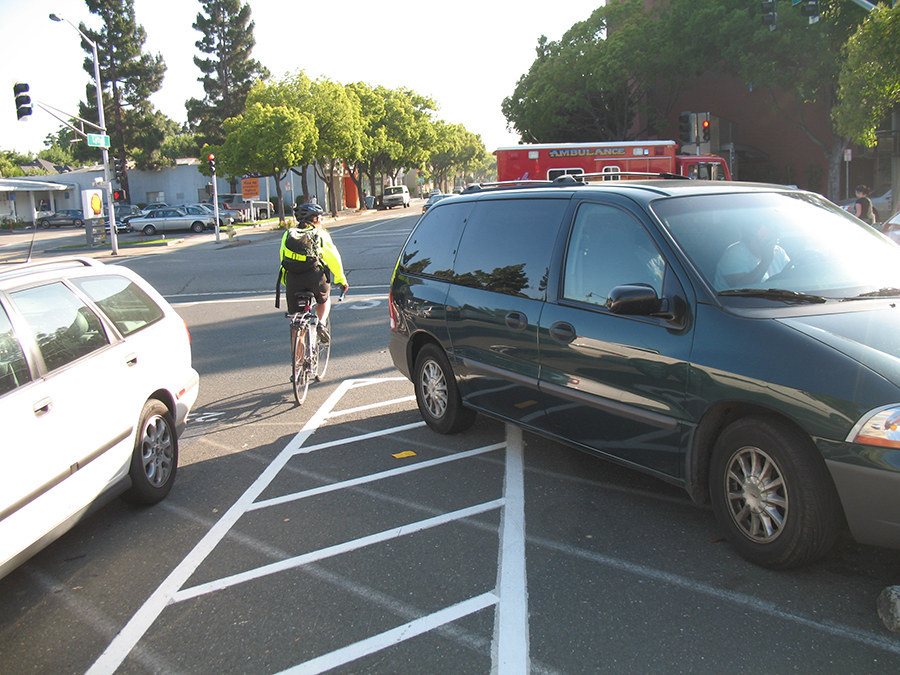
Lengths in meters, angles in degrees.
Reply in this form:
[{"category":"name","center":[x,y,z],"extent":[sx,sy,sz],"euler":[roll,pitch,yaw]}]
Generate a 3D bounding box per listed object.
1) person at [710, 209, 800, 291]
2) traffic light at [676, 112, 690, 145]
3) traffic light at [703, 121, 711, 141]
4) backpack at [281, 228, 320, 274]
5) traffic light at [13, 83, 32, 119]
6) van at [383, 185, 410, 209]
[{"category":"person","center":[2.029,-0.564,4.425],"extent":[0.420,0.421,0.868],"euler":[5,14,33]},{"category":"traffic light","center":[7.710,-6.720,21.592],"extent":[0.472,0.950,0.895],"euler":[3,12,26]},{"category":"traffic light","center":[8.499,-6.762,22.012],"extent":[0.173,0.612,0.554],"euler":[4,13,29]},{"category":"backpack","center":[-1.784,-1.033,8.019],"extent":[0.441,0.519,0.251],"euler":[0,9,-7]},{"category":"traffic light","center":[-15.861,-8.695,24.791],"extent":[0.464,1.270,0.638],"euler":[-10,13,-37]},{"category":"van","center":[-5.708,-15.093,71.930],"extent":[1.969,1.806,3.673],"euler":[-1,3,1]}]
